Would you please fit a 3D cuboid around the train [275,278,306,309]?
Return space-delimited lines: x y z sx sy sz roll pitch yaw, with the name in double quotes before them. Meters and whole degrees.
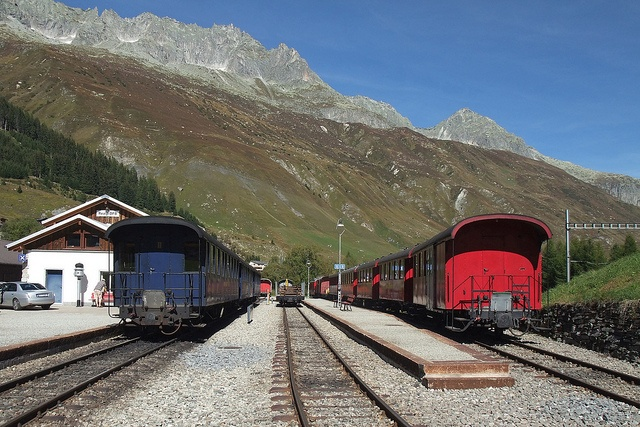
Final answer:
"train" -3.507 9.163 58.037 2.134 2.387 4.429 0 -11 -2
